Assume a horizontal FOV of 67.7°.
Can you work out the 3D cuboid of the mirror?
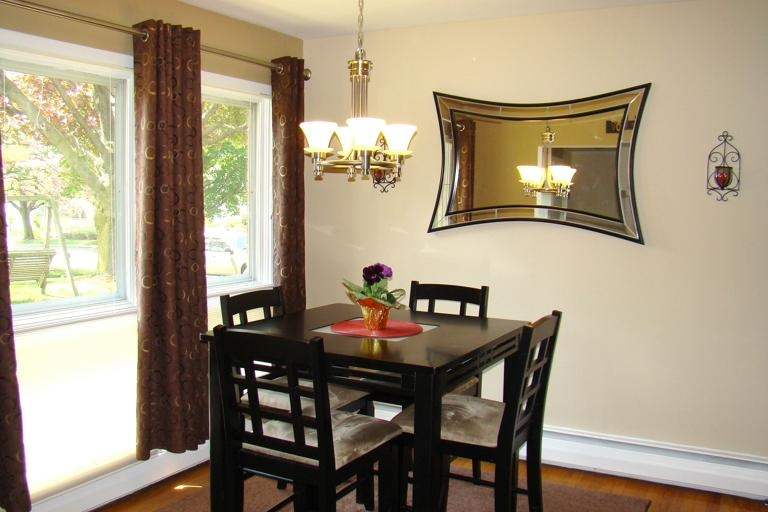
[{"bbox_3d":[1.240,-0.709,4.318,1.286,0.821,0.027,1,5,27],"label":"mirror"}]

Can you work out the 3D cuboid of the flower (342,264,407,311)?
[{"bbox_3d":[-0.077,0.207,3.481,0.300,0.177,0.302,-8,-12,35],"label":"flower"}]
